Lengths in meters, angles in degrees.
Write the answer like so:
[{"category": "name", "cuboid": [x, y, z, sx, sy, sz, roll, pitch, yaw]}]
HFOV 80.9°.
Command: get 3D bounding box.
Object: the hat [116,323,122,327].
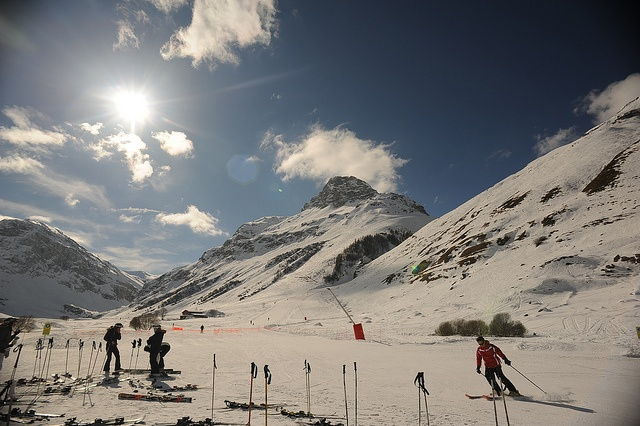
[{"category": "hat", "cuboid": [-20.807, 11.584, 38.769, 0.692, 0.237, 0.765, 5, -4, -43]}]
